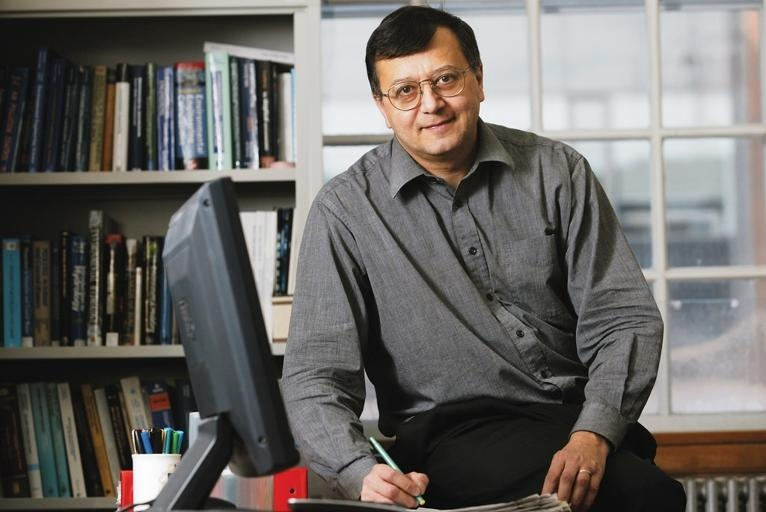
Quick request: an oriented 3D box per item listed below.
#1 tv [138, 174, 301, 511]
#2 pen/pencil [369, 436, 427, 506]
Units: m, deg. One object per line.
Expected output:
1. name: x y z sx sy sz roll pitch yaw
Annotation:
1. tv: -0.388 0.211 2.202 0.366 0.799 0.171 -1 2 12
2. pen/pencil: 0.045 0.595 2.482 0.028 0.272 0.029 -38 -32 9
